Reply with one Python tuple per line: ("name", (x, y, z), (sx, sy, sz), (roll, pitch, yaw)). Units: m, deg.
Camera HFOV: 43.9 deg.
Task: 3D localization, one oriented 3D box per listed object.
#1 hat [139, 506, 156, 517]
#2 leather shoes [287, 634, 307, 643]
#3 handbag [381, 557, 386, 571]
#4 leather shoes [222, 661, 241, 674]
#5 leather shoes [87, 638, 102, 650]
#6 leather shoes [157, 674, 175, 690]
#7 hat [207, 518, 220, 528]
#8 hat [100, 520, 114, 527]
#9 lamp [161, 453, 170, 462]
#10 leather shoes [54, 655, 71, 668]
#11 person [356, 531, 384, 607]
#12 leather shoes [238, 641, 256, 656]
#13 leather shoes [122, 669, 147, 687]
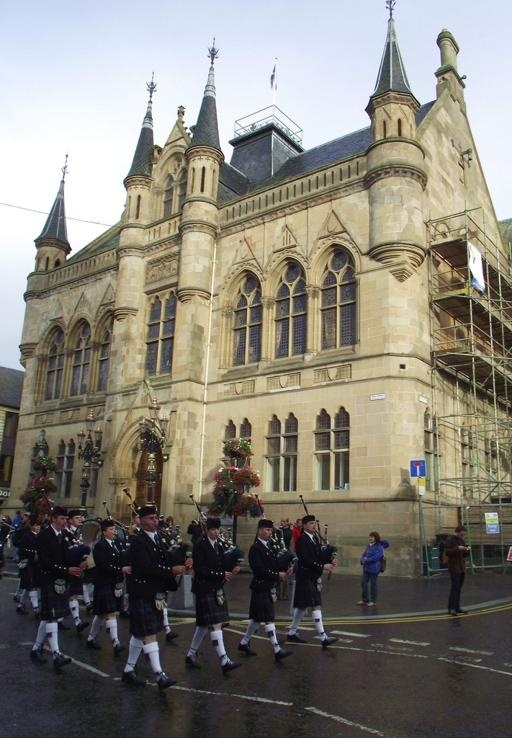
("hat", (-1.199, 1.557, 7.000), (0.150, 0.096, 0.148), (-2, -6, 16))
("leather shoes", (0.604, 3.856, 9.110), (0.313, 0.125, 0.104), (-1, -9, 10))
("handbag", (2.641, 4.063, 13.199), (0.094, 0.257, 0.233), (2, -15, 1))
("leather shoes", (-0.286, 3.367, 7.198), (0.193, 0.133, 0.358), (2, -14, -2))
("leather shoes", (-2.266, 3.808, 8.820), (0.260, 0.164, 0.087), (1, -2, -14))
("leather shoes", (-0.906, 3.126, 6.393), (0.181, 0.177, 0.278), (4, -14, -7))
("hat", (-0.538, 1.878, 7.712), (0.161, 0.114, 0.147), (-2, -4, 30))
("hat", (-1.987, 2.070, 8.464), (0.147, 0.106, 0.111), (-2, 1, -39))
("lamp", (-3.545, 3.473, 24.995), (0.299, 0.379, 0.128), (5, -1, 16))
("leather shoes", (-2.273, 3.407, 7.418), (0.253, 0.175, 0.086), (-33, -31, 32))
("person", (2.478, 4.169, 13.339), (0.540, 1.448, 0.985), (0, -15, 10))
("leather shoes", (-0.123, 3.670, 8.352), (0.305, 0.204, 0.106), (-5, -3, 20))
("leather shoes", (-1.279, 3.242, 6.659), (0.250, 0.127, 0.233), (4, -14, -9))
